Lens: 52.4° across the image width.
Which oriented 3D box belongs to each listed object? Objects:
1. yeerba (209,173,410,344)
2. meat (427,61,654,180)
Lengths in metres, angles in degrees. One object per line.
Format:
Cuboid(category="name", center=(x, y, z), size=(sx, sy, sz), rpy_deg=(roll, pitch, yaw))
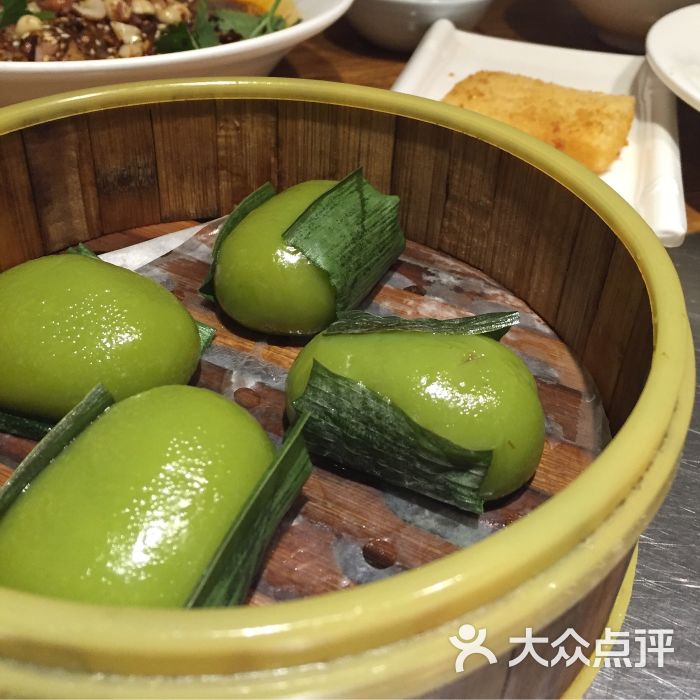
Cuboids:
Cuboid(category="yeerba", center=(-0.012, -0.084, 0.674), size=(0.189, 0.091, 0.135), rpy_deg=(-30, 53, -24))
Cuboid(category="meat", center=(0.278, -0.365, 1.215), size=(0.372, 0.114, 0.208), rpy_deg=(22, 52, 27))
